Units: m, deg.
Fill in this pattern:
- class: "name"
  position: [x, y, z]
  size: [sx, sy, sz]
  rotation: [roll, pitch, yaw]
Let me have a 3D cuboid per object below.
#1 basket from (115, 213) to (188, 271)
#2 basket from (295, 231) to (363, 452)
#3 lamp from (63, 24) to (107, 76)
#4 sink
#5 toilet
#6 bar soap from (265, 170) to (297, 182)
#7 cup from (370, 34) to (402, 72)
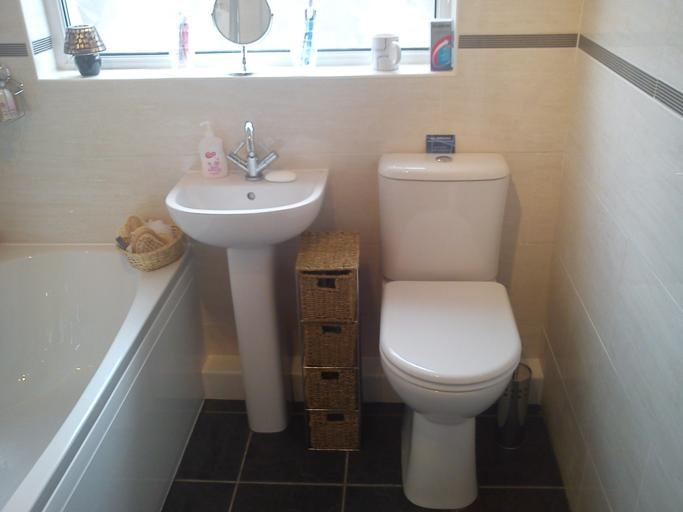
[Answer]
- class: "basket"
  position: [-0.727, -0.047, 2.057]
  size: [0.242, 0.126, 0.207]
  rotation: [25, 45, 30]
- class: "basket"
  position: [-0.035, 0.345, 2.072]
  size: [0.230, 0.821, 0.286]
  rotation: [-2, 24, 1]
- class: "lamp"
  position: [-0.976, -0.779, 2.016]
  size: [0.136, 0.177, 0.109]
  rotation: [-3, 25, 0]
- class: "sink"
  position: [-0.333, -0.168, 1.917]
  size: [0.558, 0.175, 0.415]
  rotation: [-2, 25, 2]
- class: "toilet"
  position: [0.369, 0.263, 1.928]
  size: [0.477, 1.114, 0.714]
  rotation: [0, 25, 7]
- class: "bar soap"
  position: [-0.223, -0.298, 1.984]
  size: [0.063, 0.016, 0.069]
  rotation: [0, 28, -1]
- class: "cup"
  position: [0.160, -0.756, 1.993]
  size: [0.132, 0.135, 0.104]
  rotation: [2, 42, 3]
